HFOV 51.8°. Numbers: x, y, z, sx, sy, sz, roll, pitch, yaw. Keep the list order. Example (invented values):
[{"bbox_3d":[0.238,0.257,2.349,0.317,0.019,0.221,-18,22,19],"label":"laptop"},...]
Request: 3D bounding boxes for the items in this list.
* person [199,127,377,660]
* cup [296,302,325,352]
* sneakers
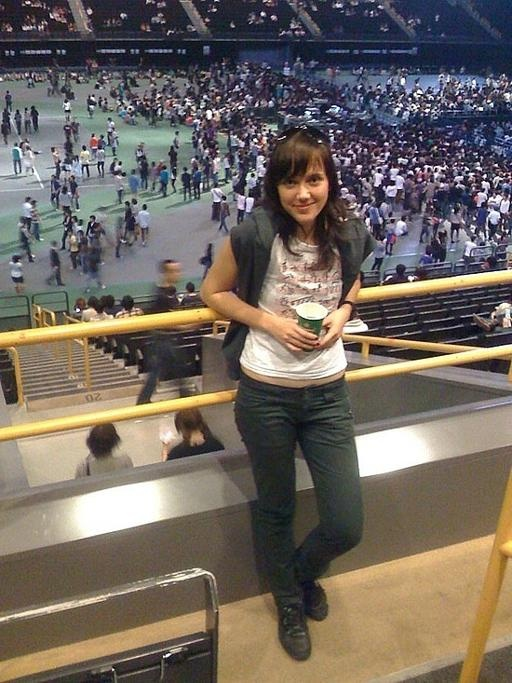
[{"bbox_3d":[0.088,0.159,1.523,0.457,1.458,0.351,1,12,12],"label":"person"},{"bbox_3d":[0.153,-0.037,1.330,0.084,0.066,0.074,21,42,35],"label":"cup"},{"bbox_3d":[0.134,0.821,1.573,0.084,0.101,0.249,-6,5,-1],"label":"sneakers"}]
